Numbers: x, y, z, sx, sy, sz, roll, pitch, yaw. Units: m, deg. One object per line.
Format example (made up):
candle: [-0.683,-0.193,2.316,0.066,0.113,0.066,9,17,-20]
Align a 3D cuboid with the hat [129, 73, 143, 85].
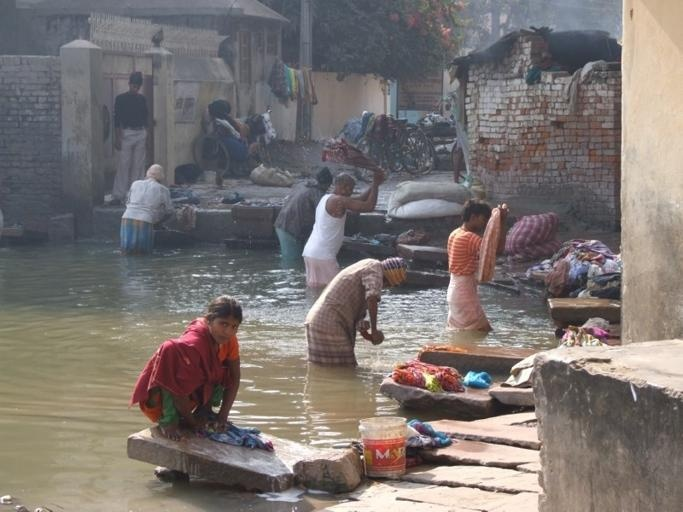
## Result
hat: [-3.435,-2.974,23.653,0.195,0.245,0.237,-1,14,-5]

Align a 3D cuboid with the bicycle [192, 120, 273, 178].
bicycle: [-2.008,-2.124,27.646,0.990,0.873,1.511,7,14,36]

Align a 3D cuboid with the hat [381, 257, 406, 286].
hat: [0.622,0.160,15.843,0.305,0.313,0.257,-9,15,-13]

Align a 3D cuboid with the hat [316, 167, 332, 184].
hat: [-0.251,-1.161,20.114,0.224,0.237,0.216,17,22,36]

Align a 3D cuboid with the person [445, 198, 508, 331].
person: [1.588,0.129,16.331,0.521,1.557,0.850,-1,6,-29]

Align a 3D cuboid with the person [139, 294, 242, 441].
person: [-1.469,1.061,13.622,0.974,1.361,0.300,2,5,-8]

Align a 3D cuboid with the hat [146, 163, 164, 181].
hat: [-2.850,-1.328,21.656,0.253,0.327,0.345,4,-5,-4]

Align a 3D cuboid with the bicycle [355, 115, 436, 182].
bicycle: [1.071,-2.325,29.053,2.080,1.279,1.015,-8,14,-10]

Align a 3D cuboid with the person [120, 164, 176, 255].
person: [-2.982,-0.711,21.658,0.760,1.373,0.450,1,5,-15]

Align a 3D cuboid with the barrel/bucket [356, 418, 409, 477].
barrel/bucket: [0.471,1.822,13.643,0.497,0.534,0.510,-1,1,0]

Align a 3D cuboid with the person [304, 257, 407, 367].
person: [0.165,0.921,16.031,1.199,1.798,0.814,0,10,-14]

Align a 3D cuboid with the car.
car: [2.034,-2.394,29.572,0.849,1.205,1.877,5,9,45]
